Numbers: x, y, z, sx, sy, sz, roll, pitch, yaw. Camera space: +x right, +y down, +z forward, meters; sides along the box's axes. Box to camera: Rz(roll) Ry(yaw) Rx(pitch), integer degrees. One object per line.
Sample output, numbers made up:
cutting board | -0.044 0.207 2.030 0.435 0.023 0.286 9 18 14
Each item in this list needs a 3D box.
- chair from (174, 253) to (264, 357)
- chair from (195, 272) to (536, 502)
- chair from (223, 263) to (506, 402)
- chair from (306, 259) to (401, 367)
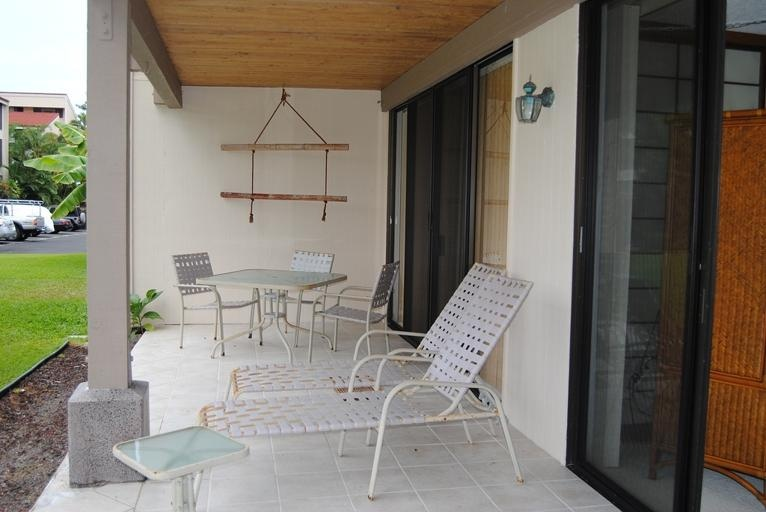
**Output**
chair | -1.904 0.492 6.618 0.923 1.040 0.905 -2 3 -32
chair | -0.154 0.861 3.923 2.113 1.257 0.943 -1 3 -17
chair | -0.219 0.604 4.326 1.899 0.912 0.755 1 2 -2
chair | -0.287 0.555 6.075 0.778 1.023 0.674 4 6 20
